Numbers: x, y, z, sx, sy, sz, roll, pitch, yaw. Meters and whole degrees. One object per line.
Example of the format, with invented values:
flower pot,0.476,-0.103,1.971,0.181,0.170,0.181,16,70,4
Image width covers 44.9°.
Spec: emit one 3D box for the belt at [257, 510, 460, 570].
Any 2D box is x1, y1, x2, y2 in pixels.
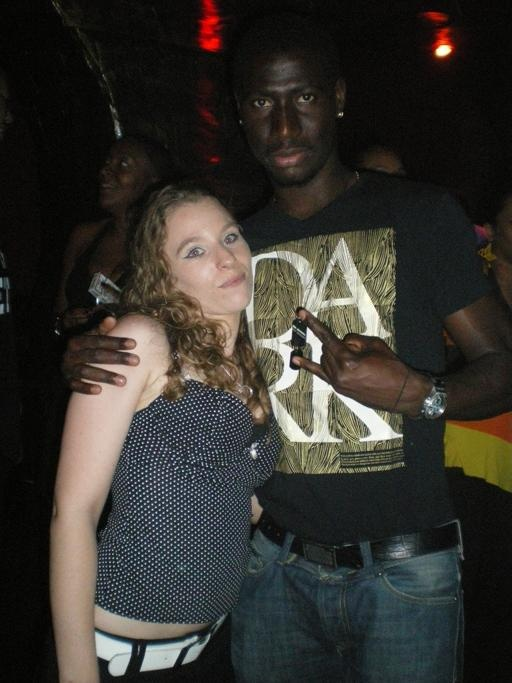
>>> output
belt,0.240,0.541,1.690,0.581,0.123,0.140,0,7,24
